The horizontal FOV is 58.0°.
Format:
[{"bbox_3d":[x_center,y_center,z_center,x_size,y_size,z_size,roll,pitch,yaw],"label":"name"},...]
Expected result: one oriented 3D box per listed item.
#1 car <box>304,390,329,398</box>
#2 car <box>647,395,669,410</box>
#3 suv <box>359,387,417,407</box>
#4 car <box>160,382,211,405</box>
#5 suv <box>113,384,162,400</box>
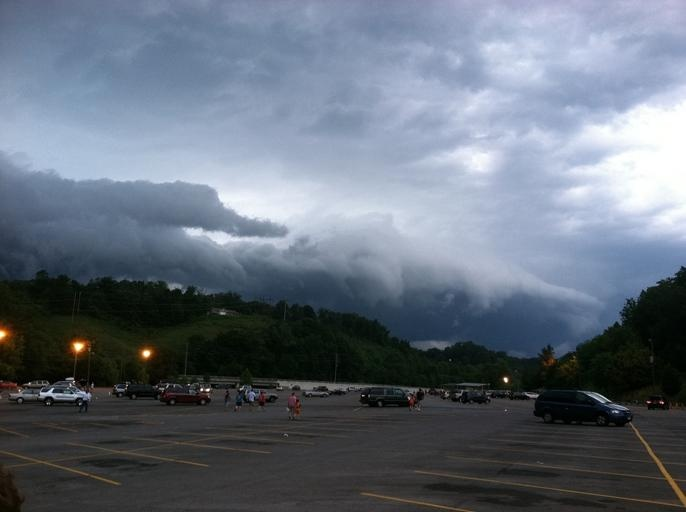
[{"bbox_3d":[-4.791,23.973,107.665,3.371,0.810,1.763,4,-9,-12],"label":"car"},{"bbox_3d":[40.092,18.598,78.881,3.018,1.491,1.628,9,-12,-43],"label":"car"},{"bbox_3d":[4.537,14.662,64.603,4.346,1.344,2.423,-1,-4,-10],"label":"suv"},{"bbox_3d":[-16.019,14.072,62.629,4.692,1.898,1.712,9,-13,-44],"label":"car"},{"bbox_3d":[-25.913,16.629,76.811,3.658,1.668,9.986,6,-11,-31],"label":"suv"}]
